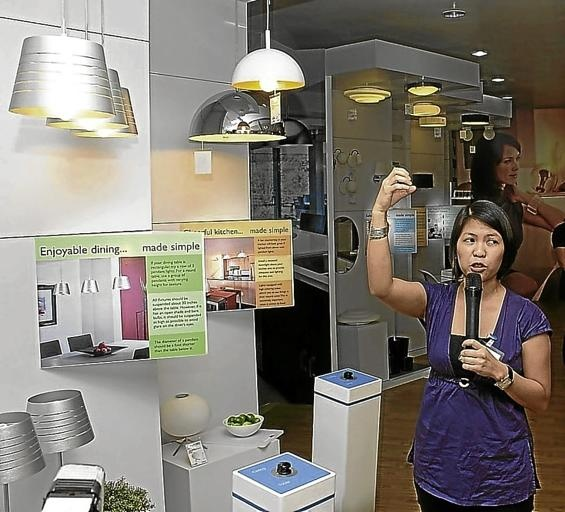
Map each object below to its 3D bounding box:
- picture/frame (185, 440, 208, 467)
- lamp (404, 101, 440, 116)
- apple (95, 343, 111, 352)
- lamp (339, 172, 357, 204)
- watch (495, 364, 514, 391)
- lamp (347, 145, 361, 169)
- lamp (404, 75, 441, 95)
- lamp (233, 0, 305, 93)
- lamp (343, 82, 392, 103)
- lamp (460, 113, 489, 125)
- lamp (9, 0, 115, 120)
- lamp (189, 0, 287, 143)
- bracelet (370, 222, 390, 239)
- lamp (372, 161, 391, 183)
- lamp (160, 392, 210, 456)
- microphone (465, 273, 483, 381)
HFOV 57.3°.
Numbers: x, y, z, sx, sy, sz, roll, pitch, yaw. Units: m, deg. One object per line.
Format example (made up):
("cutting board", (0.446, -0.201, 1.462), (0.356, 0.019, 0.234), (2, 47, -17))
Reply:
("picture/frame", (-0.486, 1.134, 2.957), (0.110, 0.102, 0.119), (-6, 6, -30))
("lamp", (1.045, -1.114, 3.940), (0.185, 0.045, 0.131), (-1, 6, -21))
("apple", (-0.727, 0.374, 2.121), (0.047, 0.039, 0.019), (6, -6, -22))
("lamp", (0.564, -0.572, 4.452), (0.193, 0.225, 0.058), (-11, 9, -11))
("watch", (0.682, 0.383, 1.603), (0.050, 0.085, 0.037), (-7, 6, -37))
("lamp", (0.612, -0.827, 4.407), (0.128, 0.140, 0.048), (-2, 14, -6))
("lamp", (1.043, -1.257, 3.860), (0.099, 0.131, 0.294), (-6, 6, -26))
("lamp", (-0.078, -0.941, 2.635), (0.271, 0.216, 0.289), (-7, 6, -39))
("lamp", (0.702, -1.335, 4.209), (0.253, 0.066, 0.228), (0, -1, 6))
("lamp", (1.304, -0.929, 3.531), (0.129, 0.038, 0.121), (3, 5, 22))
("lamp", (-0.656, -0.533, 1.525), (0.284, 0.221, 0.111), (-4, 5, -15))
("lamp", (-0.265, -0.831, 2.803), (0.442, 0.377, 0.407), (-1, 2, -23))
("bracelet", (0.356, -0.096, 1.931), (0.057, 0.037, 0.065), (1, 3, -5))
("lamp", (0.857, -0.701, 4.331), (0.152, 0.150, 0.181), (6, 17, 20))
("lamp", (-0.535, 1.041, 3.254), (0.372, 0.325, 0.319), (-1, -3, -5))
("microphone", (0.609, 0.169, 1.658), (0.049, 0.223, 0.157), (-2, 5, 21))
